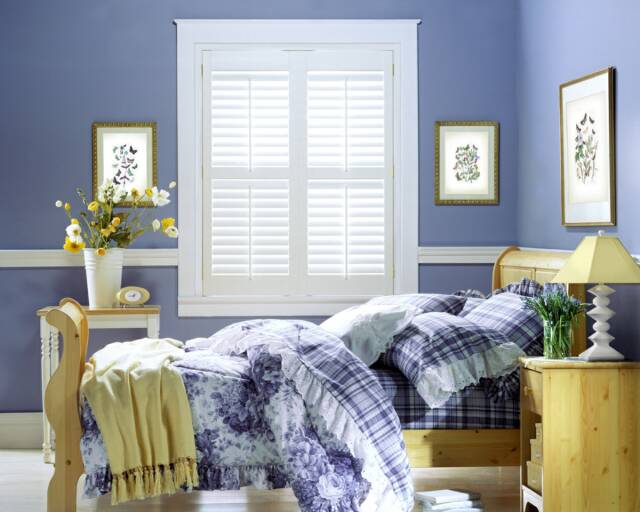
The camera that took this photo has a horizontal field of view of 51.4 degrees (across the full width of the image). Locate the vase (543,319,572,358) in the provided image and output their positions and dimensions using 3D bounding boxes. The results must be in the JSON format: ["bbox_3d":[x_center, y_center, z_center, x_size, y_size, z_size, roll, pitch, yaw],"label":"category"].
[{"bbox_3d":[1.175,0.406,3.288,0.152,0.203,0.164,2,-5,-15],"label":"vase"}]

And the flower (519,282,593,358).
[{"bbox_3d":[1.184,0.338,3.332,0.241,0.345,0.218,-6,-11,34],"label":"flower"}]

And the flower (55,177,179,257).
[{"bbox_3d":[-1.459,-0.234,4.654,0.645,0.353,0.531,-16,-27,23],"label":"flower"}]

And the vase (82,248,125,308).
[{"bbox_3d":[-1.476,0.068,4.516,0.256,0.395,0.264,-11,39,-32],"label":"vase"}]

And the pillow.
[{"bbox_3d":[0.702,0.482,3.470,0.714,0.209,0.689,-9,38,37],"label":"pillow"}]

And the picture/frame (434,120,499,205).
[{"bbox_3d":[1.078,-0.722,4.902,0.524,0.719,0.048,0,-1,-3],"label":"picture/frame"}]

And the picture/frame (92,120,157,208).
[{"bbox_3d":[-1.418,-0.673,4.752,0.560,0.766,0.053,0,0,-5],"label":"picture/frame"}]

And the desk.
[{"bbox_3d":[-1.545,0.852,4.633,0.826,1.168,0.501,3,8,-25],"label":"desk"}]

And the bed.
[{"bbox_3d":[0.161,0.666,3.939,2.189,1.257,1.825,-2,2,-7],"label":"bed"}]
